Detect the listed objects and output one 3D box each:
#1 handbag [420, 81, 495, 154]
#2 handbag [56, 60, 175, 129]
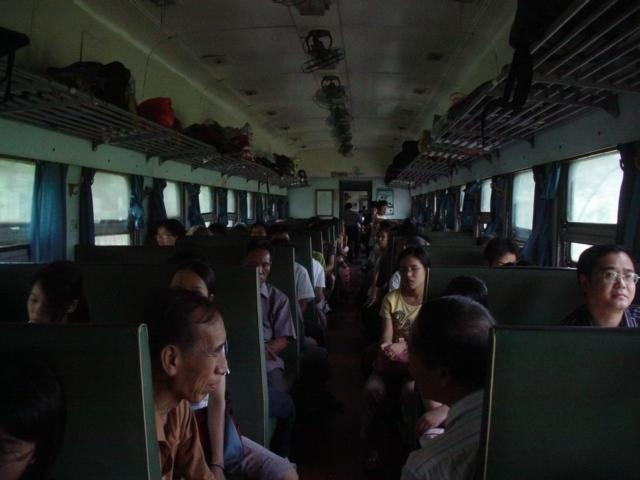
[{"bbox_3d":[1.531,-1.530,5.429,0.477,0.413,1.833,15,3,11],"label":"handbag"},{"bbox_3d":[-2.125,-1.565,5.104,0.451,0.513,1.479,1,3,14],"label":"handbag"}]
